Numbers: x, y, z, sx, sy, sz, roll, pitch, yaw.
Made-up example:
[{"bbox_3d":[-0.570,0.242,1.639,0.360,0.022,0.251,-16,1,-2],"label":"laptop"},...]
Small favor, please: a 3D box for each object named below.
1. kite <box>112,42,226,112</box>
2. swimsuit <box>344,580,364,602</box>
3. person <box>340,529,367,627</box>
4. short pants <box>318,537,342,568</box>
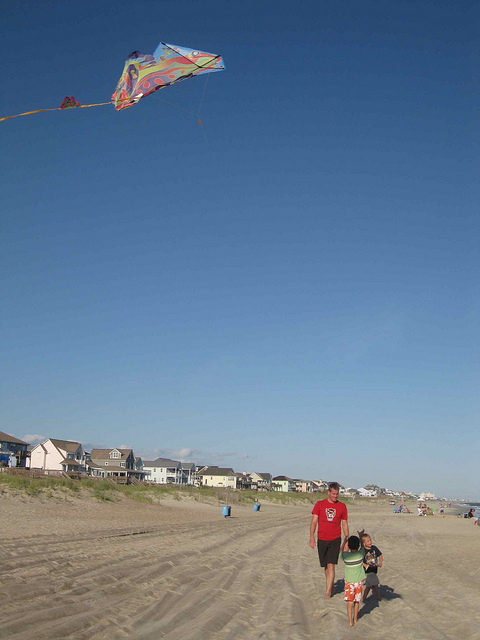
[{"bbox_3d":[-1.327,-4.188,9.887,2.172,0.903,1.876,5,19,36],"label":"kite"},{"bbox_3d":[1.632,3.889,8.321,0.257,0.315,0.253,2,-13,12],"label":"swimsuit"},{"bbox_3d":[1.656,3.810,8.584,0.373,1.230,1.127,2,-13,12],"label":"person"},{"bbox_3d":[1.369,3.620,8.998,0.355,0.488,0.393,1,-13,17],"label":"short pants"}]
